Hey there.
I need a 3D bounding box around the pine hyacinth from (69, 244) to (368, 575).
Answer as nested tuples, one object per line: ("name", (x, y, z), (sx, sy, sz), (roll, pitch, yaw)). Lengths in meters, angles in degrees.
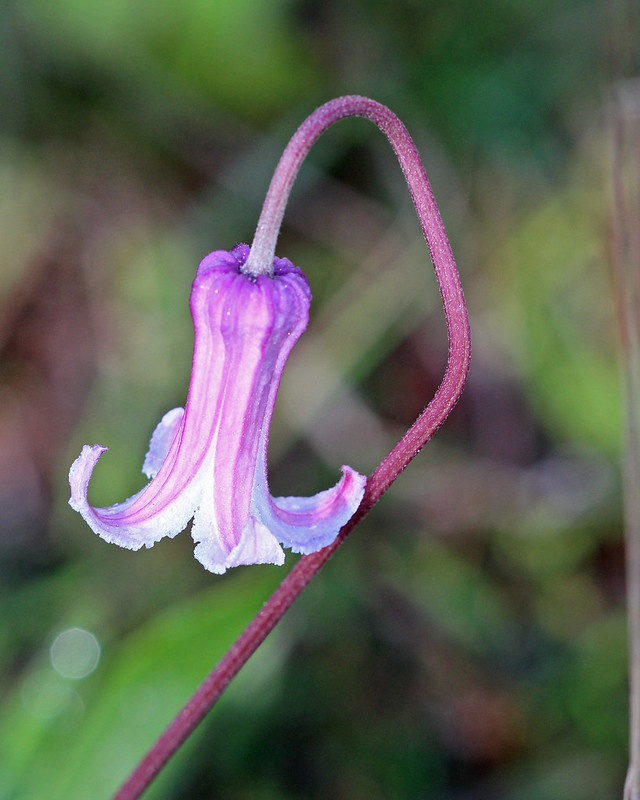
("pine hyacinth", (-0.090, 0.013, 0.938), (0.225, 0.294, 0.148), (-11, -24, 23))
